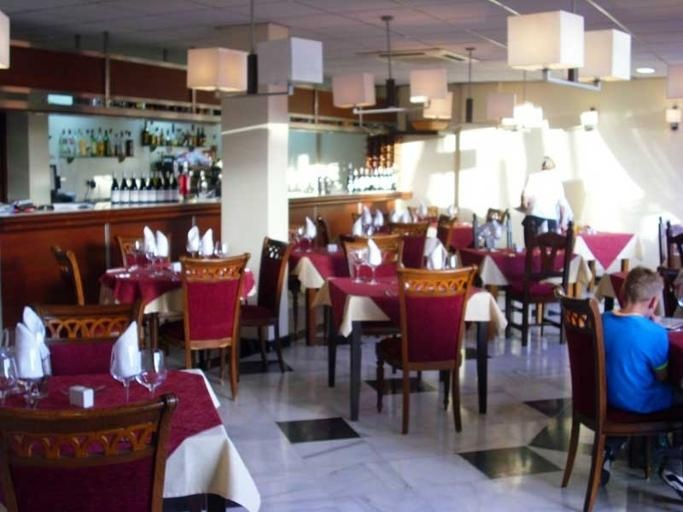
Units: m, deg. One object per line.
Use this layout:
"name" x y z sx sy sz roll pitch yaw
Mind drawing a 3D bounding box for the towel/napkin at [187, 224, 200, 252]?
"towel/napkin" -1.411 -0.161 5.828 0.091 0.321 0.110 6 -18 -6

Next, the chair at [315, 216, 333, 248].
"chair" -0.290 -0.322 8.160 0.324 0.377 0.347 -7 8 -32

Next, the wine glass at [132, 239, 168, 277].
"wine glass" -1.775 0.042 5.655 0.235 0.312 0.809 -1 0 -20

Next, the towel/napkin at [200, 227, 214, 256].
"towel/napkin" -1.203 -0.119 5.456 0.100 0.225 0.212 -1 8 -5

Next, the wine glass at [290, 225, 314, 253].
"wine glass" -0.461 -0.201 6.998 0.255 0.322 0.271 -1 7 -6

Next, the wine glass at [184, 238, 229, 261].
"wine glass" -1.263 -0.065 5.553 0.322 0.164 0.241 0 0 36

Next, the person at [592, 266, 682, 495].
"person" 1.672 0.738 3.490 0.540 1.336 0.391 -3 8 -21

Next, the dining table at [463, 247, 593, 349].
"dining table" 2.108 0.343 6.764 1.292 1.281 1.242 -3 3 -2

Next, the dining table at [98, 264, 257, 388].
"dining table" -1.580 0.531 5.181 0.848 0.705 0.880 1 1 -23

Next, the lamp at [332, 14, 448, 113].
"lamp" 0.586 -1.873 7.153 1.287 1.195 1.315 0 3 10

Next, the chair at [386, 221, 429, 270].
"chair" 0.814 -0.135 7.125 0.421 0.750 0.493 2 14 6

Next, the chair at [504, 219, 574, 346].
"chair" 2.039 0.301 6.467 0.528 1.196 0.582 0 5 -5

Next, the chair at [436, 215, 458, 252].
"chair" 1.410 -0.311 8.351 0.240 0.460 0.973 1 9 9

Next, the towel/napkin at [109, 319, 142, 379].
"towel/napkin" -0.903 0.392 2.576 0.130 0.237 0.145 -3 7 -19

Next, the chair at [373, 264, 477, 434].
"chair" 0.603 0.635 4.560 0.645 1.216 0.686 -1 8 -5

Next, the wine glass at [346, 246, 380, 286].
"wine glass" 0.168 0.083 5.217 0.281 0.346 0.277 1 2 -2

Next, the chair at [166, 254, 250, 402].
"chair" -1.097 0.554 5.038 0.601 1.281 0.658 -3 13 -28

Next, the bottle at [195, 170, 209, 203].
"bottle" -2.119 -1.098 9.285 0.173 0.392 0.526 -2 9 -12

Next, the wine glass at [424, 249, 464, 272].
"wine glass" 0.854 0.037 5.139 0.188 0.126 0.270 -1 1 -34

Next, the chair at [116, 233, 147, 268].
"chair" -2.024 -0.048 5.924 0.309 0.410 0.278 -4 5 -45

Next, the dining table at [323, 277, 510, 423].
"dining table" 0.331 0.504 4.846 1.125 0.805 1.169 -2 10 -17

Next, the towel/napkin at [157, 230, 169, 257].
"towel/napkin" -1.578 -0.110 5.317 0.073 0.221 0.156 -11 -1 1

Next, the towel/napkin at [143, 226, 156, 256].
"towel/napkin" -1.650 -0.130 5.291 0.105 0.223 0.187 -3 9 -18

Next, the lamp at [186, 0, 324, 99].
"lamp" -0.759 -1.779 5.211 1.038 0.924 0.845 8 11 43
